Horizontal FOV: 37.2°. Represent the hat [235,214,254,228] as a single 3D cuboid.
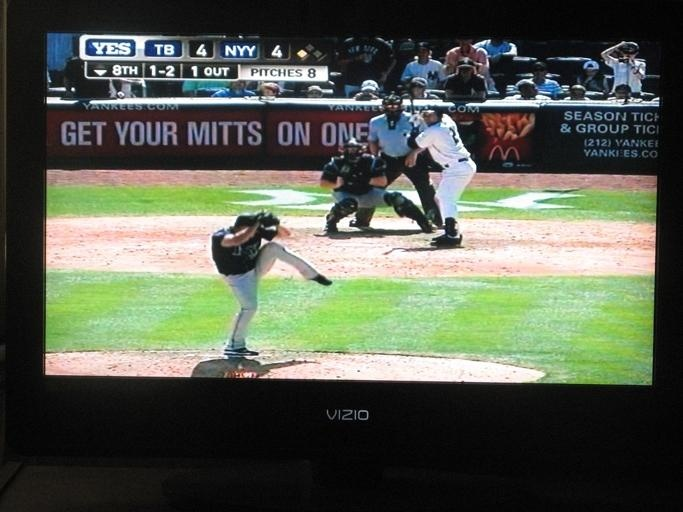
[{"bbox_3d":[-0.250,-0.091,2.607,0.053,0.031,0.034,-3,5,11],"label":"hat"}]
